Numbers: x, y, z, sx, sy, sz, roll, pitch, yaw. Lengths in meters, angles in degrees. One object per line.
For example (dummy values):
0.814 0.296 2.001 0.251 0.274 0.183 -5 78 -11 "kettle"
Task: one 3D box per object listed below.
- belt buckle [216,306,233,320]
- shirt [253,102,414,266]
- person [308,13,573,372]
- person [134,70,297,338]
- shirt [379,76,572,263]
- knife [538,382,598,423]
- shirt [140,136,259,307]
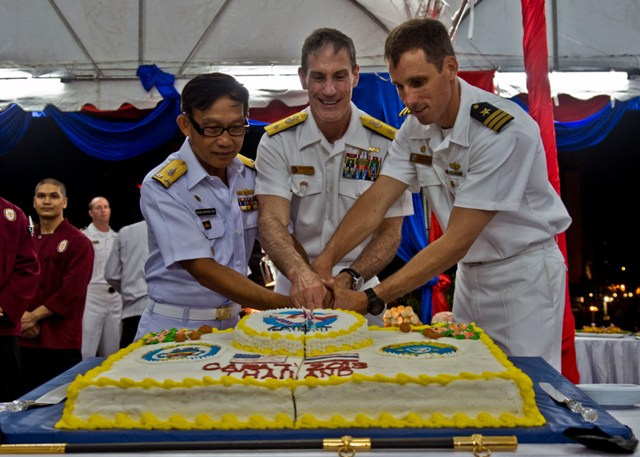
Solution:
-0.653 0.578 4.184 0.106 0.072 0.018 -3 2 -43 "belt buckle"
0.119 -0.305 4.572 1.191 1.177 0.593 5 13 11 "shirt"
0.934 -0.236 4.105 1.457 2.280 0.689 -1 12 6 "person"
-0.776 -0.155 4.061 0.917 1.741 0.755 -6 12 -18 "person"
1.062 -0.456 4.294 0.902 1.146 1.326 -27 25 -19 "shirt"
1.337 0.935 3.368 0.082 0.098 0.411 -20 15 -14 "knife"
-0.791 -0.045 4.162 0.794 1.153 0.512 -6 12 -19 "shirt"
